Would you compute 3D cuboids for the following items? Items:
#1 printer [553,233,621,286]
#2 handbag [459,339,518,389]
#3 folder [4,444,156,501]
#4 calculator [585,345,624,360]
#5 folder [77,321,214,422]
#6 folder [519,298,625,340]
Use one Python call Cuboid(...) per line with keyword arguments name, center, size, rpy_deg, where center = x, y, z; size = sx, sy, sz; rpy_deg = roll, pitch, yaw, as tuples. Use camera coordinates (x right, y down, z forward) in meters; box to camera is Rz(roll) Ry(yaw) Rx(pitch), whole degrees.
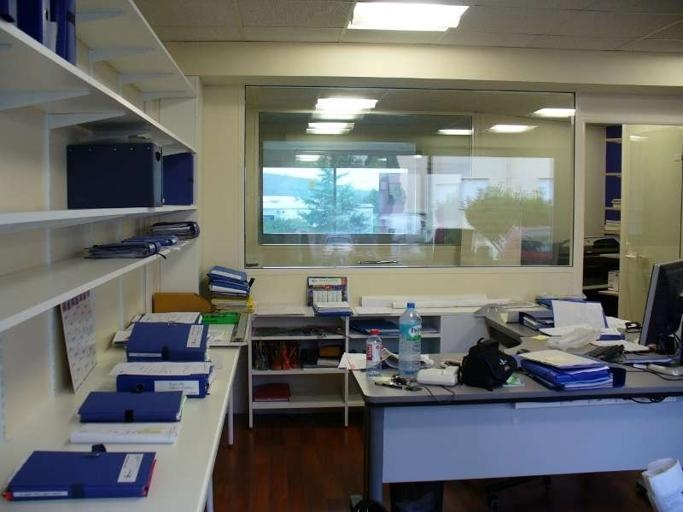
Cuboid(name="printer", center=(3.033, 0.052, 6.580), size=(0.375, 0.589, 0.444), rpy_deg=(5, 12, 23))
Cuboid(name="handbag", center=(0.690, 0.529, 2.847), size=(0.287, 0.265, 0.201), rpy_deg=(9, -3, -5))
Cuboid(name="folder", center=(-0.964, 0.811, 2.103), size=(0.281, 0.055, 0.220), rpy_deg=(2, 6, -7))
Cuboid(name="calculator", center=(1.494, 0.543, 3.172), size=(0.091, 0.039, 0.132), rpy_deg=(4, 7, 37))
Cuboid(name="folder", center=(-0.890, 0.580, 2.725), size=(0.327, 0.115, 0.560), rpy_deg=(1, 13, -6))
Cuboid(name="folder", center=(1.525, 0.400, 3.601), size=(0.365, 0.126, 0.344), rpy_deg=(-1, 7, -7))
